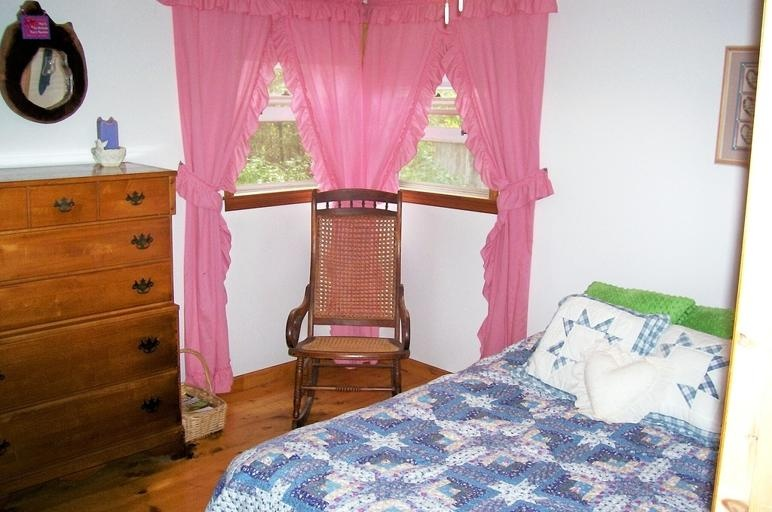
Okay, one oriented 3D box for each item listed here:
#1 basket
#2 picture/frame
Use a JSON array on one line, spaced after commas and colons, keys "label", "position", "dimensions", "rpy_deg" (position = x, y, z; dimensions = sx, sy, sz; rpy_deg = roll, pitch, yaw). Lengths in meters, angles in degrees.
[{"label": "basket", "position": [-1.244, 0.901, 3.834], "dimensions": [0.288, 0.385, 0.388], "rpy_deg": [5, 0, -31]}, {"label": "picture/frame", "position": [1.949, -0.831, 3.149], "dimensions": [0.170, 0.651, 0.077], "rpy_deg": [7, 14, 36]}]
